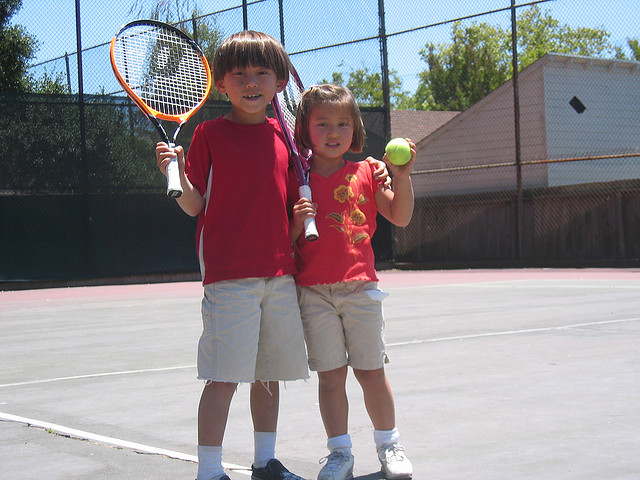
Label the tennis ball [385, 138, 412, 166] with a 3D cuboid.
[{"bbox_3d":[0.376,-0.404,3.021,0.113,0.129,0.126,5,-36,4],"label":"tennis ball"}]

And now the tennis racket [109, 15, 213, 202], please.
[{"bbox_3d":[-0.906,-0.672,3.602,0.405,1.164,0.069,18,-29,-12],"label":"tennis racket"}]

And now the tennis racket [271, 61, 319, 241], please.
[{"bbox_3d":[-0.118,-0.351,2.853,0.107,1.013,0.298,-30,-54,14],"label":"tennis racket"}]
